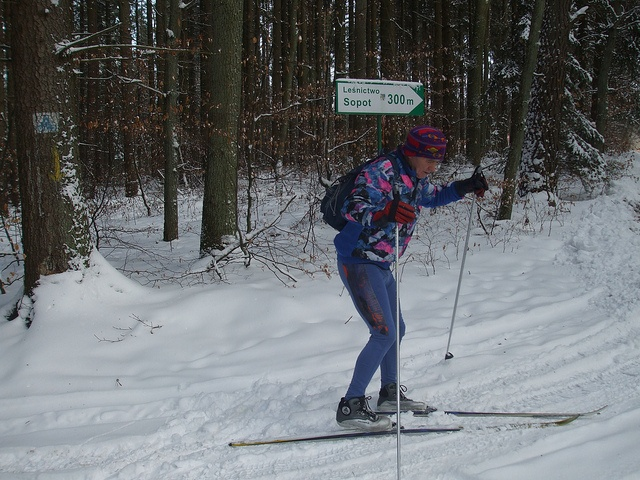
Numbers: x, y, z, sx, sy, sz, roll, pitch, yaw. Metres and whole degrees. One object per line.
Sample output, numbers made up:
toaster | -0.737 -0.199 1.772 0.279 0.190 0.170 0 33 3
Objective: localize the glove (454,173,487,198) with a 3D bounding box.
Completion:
glove | 2.469 -0.904 12.699 0.408 0.440 0.209 -22 -11 2

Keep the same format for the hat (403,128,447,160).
hat | 1.650 -1.548 12.224 0.564 0.472 0.475 19 35 -1

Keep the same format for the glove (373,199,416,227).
glove | 1.120 -0.418 11.739 0.515 0.374 0.176 -7 -20 -2
